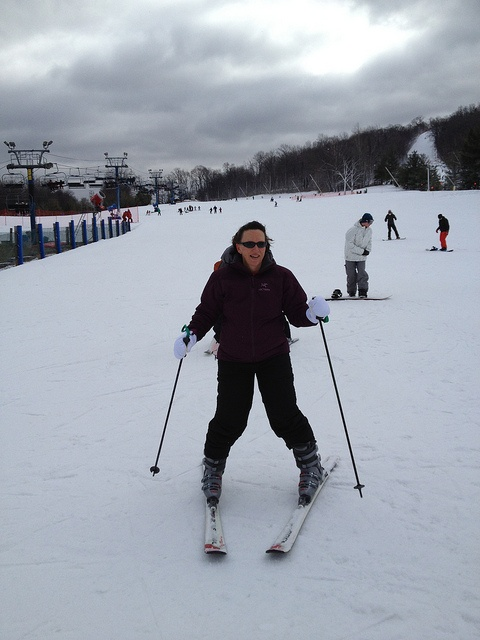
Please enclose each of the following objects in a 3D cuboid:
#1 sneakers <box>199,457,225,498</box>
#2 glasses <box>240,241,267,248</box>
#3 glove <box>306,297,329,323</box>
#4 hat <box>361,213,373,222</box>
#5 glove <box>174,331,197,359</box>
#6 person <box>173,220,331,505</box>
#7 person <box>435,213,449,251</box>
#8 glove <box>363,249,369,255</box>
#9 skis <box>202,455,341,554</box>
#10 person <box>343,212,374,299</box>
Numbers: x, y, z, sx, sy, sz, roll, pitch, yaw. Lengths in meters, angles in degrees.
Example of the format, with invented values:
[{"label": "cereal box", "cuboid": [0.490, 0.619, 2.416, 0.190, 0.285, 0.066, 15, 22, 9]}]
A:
[{"label": "sneakers", "cuboid": [-0.151, 0.852, 3.042, 0.083, 0.135, 0.272, 6, 15, -5]}, {"label": "glasses", "cuboid": [0.078, -0.390, 2.912, 0.149, 0.039, 0.081, -6, 10, -14]}, {"label": "glove", "cuboid": [0.419, -0.078, 3.029, 0.102, 0.151, 0.071, 9, 33, 9]}, {"label": "hat", "cuboid": [1.980, -1.565, 8.728, 0.129, 0.148, 0.183, 17, 8, -3]}, {"label": "glove", "cuboid": [-0.294, 0.145, 3.157, 0.059, 0.158, 0.116, 21, 7, -26]}, {"label": "person", "cuboid": [0.087, 0.229, 3.004, 0.792, 1.466, 0.368, -3, 10, -1]}, {"label": "person", "cuboid": [5.849, -2.523, 16.207, 0.264, 0.967, 1.830, 0, 11, 19]}, {"label": "glove", "cuboid": [1.974, -1.070, 8.850, 0.085, 0.090, 0.021, -2, -2, 11]}, {"label": "skis", "cuboid": [0.215, 0.953, 2.969, 0.231, 0.110, 0.896, 3, 10, 13]}, {"label": "person", "cuboid": [1.945, -1.030, 9.228, 0.420, 1.379, 0.999, -1, 10, 12]}]
